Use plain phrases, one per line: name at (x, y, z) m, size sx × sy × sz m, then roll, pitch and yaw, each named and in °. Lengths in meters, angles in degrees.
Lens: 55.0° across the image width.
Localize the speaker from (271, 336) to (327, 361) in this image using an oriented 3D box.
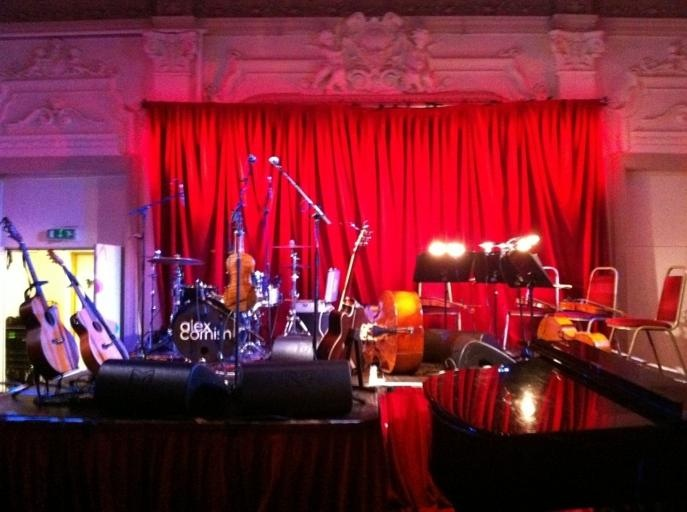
speaker at (-0.429, 0.801, 5.848) m, size 0.292 × 0.211 × 0.213 m, roll -1°, pitch 3°, yaw 6°

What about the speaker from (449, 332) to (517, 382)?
speaker at (1.176, 0.799, 5.466) m, size 0.388 × 0.152 × 0.379 m, roll 19°, pitch -16°, yaw -8°

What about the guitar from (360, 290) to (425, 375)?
guitar at (0.385, 0.698, 6.056) m, size 0.487 × 0.759 × 0.640 m, roll 1°, pitch -3°, yaw -32°

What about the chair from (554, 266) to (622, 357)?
chair at (2.480, 0.557, 6.650) m, size 0.531 × 0.857 × 0.870 m, roll 8°, pitch -7°, yaw -20°

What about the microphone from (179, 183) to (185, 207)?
microphone at (-1.827, -0.698, 7.473) m, size 0.081 × 0.230 × 0.109 m, roll 0°, pitch -2°, yaw -14°

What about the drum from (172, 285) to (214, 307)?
drum at (-1.459, 0.373, 6.547) m, size 0.298 × 0.201 × 0.301 m, roll 0°, pitch -3°, yaw 0°

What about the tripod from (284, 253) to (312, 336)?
tripod at (-0.499, 0.385, 7.189) m, size 0.278 × 0.901 × 0.671 m, roll -1°, pitch -2°, yaw -4°

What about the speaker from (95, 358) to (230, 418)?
speaker at (-1.287, 0.954, 4.875) m, size 0.912 × 0.386 × 0.418 m, roll 3°, pitch -9°, yaw 3°

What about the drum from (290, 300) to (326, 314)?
drum at (-0.337, 0.531, 6.954) m, size 0.275 × 0.097 × 0.151 m, roll -1°, pitch 0°, yaw 3°

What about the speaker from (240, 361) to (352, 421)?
speaker at (-0.339, 0.960, 4.791) m, size 0.636 × 0.329 × 0.445 m, roll 1°, pitch -24°, yaw -4°

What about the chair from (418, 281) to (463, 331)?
chair at (1.032, 0.523, 7.026) m, size 0.460 × 0.603 × 0.561 m, roll -5°, pitch -7°, yaw 45°

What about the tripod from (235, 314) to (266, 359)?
tripod at (-0.911, 0.777, 6.555) m, size 0.400 × 0.513 × 0.398 m, roll 0°, pitch 4°, yaw -4°
